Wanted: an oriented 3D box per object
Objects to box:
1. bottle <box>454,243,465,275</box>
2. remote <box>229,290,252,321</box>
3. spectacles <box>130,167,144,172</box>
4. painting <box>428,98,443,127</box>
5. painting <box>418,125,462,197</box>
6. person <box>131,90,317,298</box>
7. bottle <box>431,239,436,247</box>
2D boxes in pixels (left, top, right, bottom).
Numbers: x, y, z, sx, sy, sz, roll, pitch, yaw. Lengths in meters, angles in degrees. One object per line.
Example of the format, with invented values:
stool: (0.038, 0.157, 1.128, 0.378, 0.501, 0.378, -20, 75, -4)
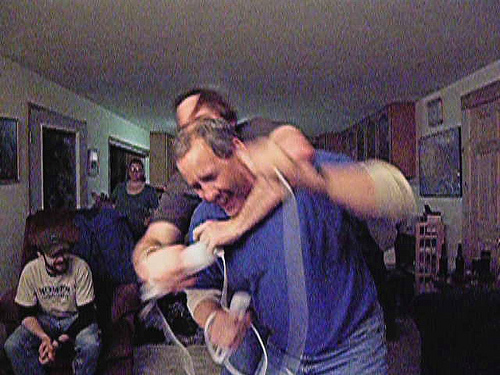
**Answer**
bottle: (1.069, 0.368, 2.477, 0.046, 0.167, 0.074, 6, 7, 36)
remote: (-0.060, 0.586, 2.490, 0.104, 0.135, 0.083, -38, 37, -26)
spectacles: (-0.560, -0.089, 2.394, 0.064, 0.026, 0.021, 6, 7, 20)
painting: (0.913, -0.380, 2.401, 0.073, 0.163, 0.017, -5, 40, 20)
painting: (0.940, -0.124, 2.428, 0.200, 0.365, 0.012, 3, 28, 31)
person: (-0.208, 0.257, 2.962, 1.106, 0.430, 1.433, 4, -25, 39)
bottle: (0.924, 0.279, 2.453, 0.028, 0.035, 0.007, 4, -3, -39)
